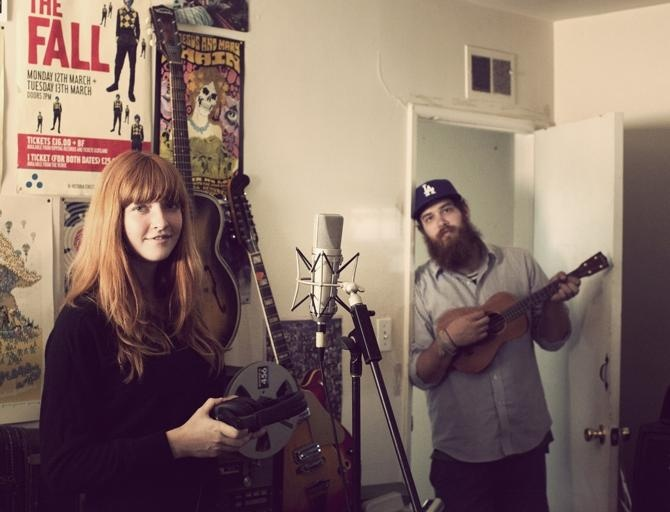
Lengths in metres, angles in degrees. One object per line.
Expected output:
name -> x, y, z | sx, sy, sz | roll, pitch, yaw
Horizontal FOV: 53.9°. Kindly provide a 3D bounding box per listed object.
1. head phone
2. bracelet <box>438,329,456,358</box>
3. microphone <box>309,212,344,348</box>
head phone -> -0.274, 0.529, 2.274 | 0.220, 0.097, 0.161 | -1, -1, -26
bracelet -> 0.517, 0.407, 3.047 | 0.048, 0.115, 0.082 | -17, -1, 6
microphone -> -0.038, 0.080, 2.317 | 0.107, 0.456, 0.165 | 1, 3, -1
